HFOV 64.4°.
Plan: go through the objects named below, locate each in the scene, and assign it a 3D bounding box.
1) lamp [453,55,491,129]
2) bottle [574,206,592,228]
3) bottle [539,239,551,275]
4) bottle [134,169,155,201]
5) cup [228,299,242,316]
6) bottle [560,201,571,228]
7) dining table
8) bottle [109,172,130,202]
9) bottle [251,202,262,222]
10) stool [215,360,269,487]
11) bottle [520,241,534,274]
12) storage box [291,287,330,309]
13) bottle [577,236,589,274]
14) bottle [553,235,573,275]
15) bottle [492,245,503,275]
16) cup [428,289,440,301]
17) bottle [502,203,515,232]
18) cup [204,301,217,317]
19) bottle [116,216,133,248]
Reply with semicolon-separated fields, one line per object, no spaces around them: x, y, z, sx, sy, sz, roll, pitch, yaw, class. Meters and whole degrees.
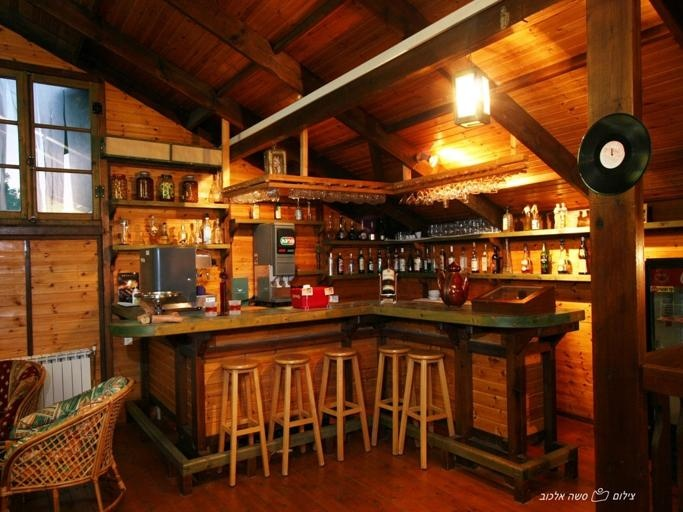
1.055;-1.281;4.382;0.249;0.443;0.247;0;1;31;lamp
2.689;-0.430;6.013;0.113;0.213;0.220;0;0;32;bottle
2.369;0.021;6.254;0.125;0.358;0.356;0;0;20;bottle
-2.415;-0.846;6.581;0.226;0.381;0.228;0;0;0;bottle
-1.038;0.498;5.237;0.133;0.125;0.145;-3;-7;0;cup
2.468;-0.443;5.989;0.066;0.269;0.193;0;1;27;bottle
0.203;1.049;5.160;2.324;0.928;2.644;1;-4;-33;dining table
-2.672;-0.823;6.440;0.178;0.309;0.148;-1;1;-20;bottle
-1.179;-0.604;7.306;0.122;0.209;0.216;0;0;-6;bottle
-0.901;1.467;4.952;0.460;1.043;0.663;0;1;-13;stool
2.215;0.017;6.455;0.144;0.362;0.352;0;0;18;bottle
-0.320;0.437;5.554;0.308;0.203;0.253;2;-4;-35;storage box
2.653;-0.010;5.917;0.109;0.411;0.345;0;0;24;bottle
2.534;0.004;6.122;0.133;0.378;0.188;0;1;37;bottle
1.944;0.044;6.727;0.128;0.341;0.415;0;0;15;bottle
1.037;0.437;6.060;0.115;0.080;0.112;0;-4;0;cup
2.029;-0.441;6.586;0.135;0.313;0.469;0;0;18;bottle
-1.241;0.500;5.166;0.131;0.144;0.130;-1;-6;0;cup
-2.580;-0.291;6.408;0.171;0.345;0.320;-1;0;-19;bottle
